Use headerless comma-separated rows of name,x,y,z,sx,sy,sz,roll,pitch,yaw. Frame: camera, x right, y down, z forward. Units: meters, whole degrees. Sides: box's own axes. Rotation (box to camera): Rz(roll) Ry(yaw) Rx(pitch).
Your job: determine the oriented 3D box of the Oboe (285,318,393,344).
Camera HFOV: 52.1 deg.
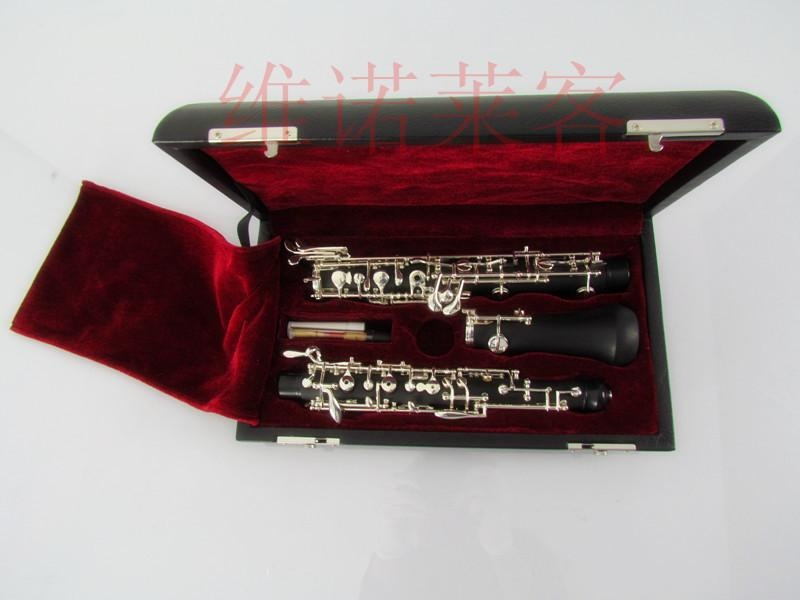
Oboe,-0.362,0.183,4.734,0.497,0.094,0.083,3,54,1
